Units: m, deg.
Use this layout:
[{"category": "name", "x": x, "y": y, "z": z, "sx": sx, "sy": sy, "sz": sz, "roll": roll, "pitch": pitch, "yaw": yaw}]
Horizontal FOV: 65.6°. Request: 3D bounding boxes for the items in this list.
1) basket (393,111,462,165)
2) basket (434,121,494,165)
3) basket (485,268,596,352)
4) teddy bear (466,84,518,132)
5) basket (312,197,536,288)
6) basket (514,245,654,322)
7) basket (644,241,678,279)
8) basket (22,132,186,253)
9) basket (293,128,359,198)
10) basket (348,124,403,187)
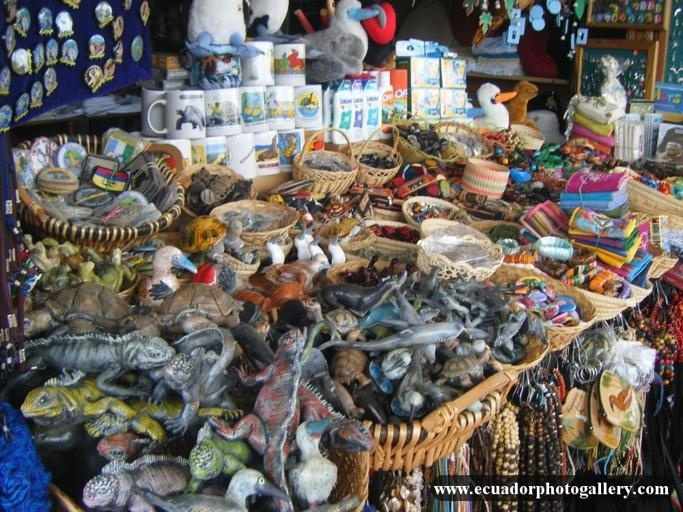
[{"category": "basket", "x": 0.383, "y": -0.583, "z": 2.641, "sx": 0.295, "sy": 0.190, "sz": 0.400, "roll": -5, "pitch": 22, "yaw": -22}, {"category": "basket", "x": 0.616, "y": -0.591, "z": 2.695, "sx": 0.272, "sy": 0.100, "sz": 0.217, "roll": 44, "pitch": 42, "yaw": 21}, {"category": "basket", "x": 0.690, "y": 0.228, "z": 1.820, "sx": 0.272, "sy": 0.111, "sz": 0.306, "roll": 1, "pitch": 23, "yaw": -19}, {"category": "teddy bear", "x": 0.843, "y": -0.839, "z": 2.958, "sx": 0.203, "sy": 0.236, "sz": 0.147, "roll": 8, "pitch": 19, "yaw": 13}, {"category": "basket", "x": 0.379, "y": -0.024, "z": 1.805, "sx": 0.394, "sy": 0.166, "sz": 0.439, "roll": -7, "pitch": 22, "yaw": -36}, {"category": "basket", "x": 0.860, "y": 0.063, "z": 1.902, "sx": 0.345, "sy": 0.109, "sz": 0.306, "roll": 28, "pitch": 2, "yaw": 20}, {"category": "basket", "x": 1.328, "y": 0.002, "z": 2.179, "sx": 0.148, "sy": 0.050, "sz": 0.163, "roll": 13, "pitch": 31, "yaw": 24}, {"category": "basket", "x": -0.662, "y": -0.141, "z": 1.653, "sx": 0.376, "sy": 0.184, "sz": 0.472, "roll": 27, "pitch": 22, "yaw": 2}, {"category": "basket", "x": -0.071, "y": -0.395, "z": 2.316, "sx": 0.299, "sy": 0.308, "sz": 0.305, "roll": -14, "pitch": 27, "yaw": -34}, {"category": "basket", "x": 0.150, "y": -0.456, "z": 2.423, "sx": 0.191, "sy": 0.226, "sz": 0.183, "roll": -31, "pitch": 56, "yaw": -30}]
